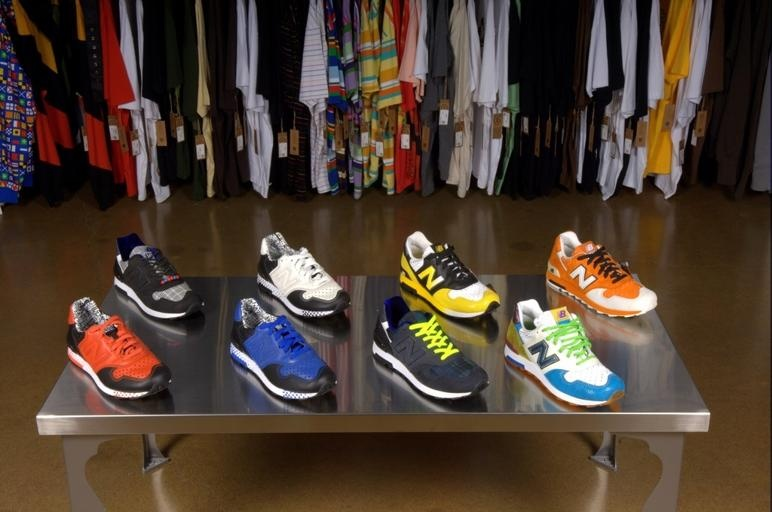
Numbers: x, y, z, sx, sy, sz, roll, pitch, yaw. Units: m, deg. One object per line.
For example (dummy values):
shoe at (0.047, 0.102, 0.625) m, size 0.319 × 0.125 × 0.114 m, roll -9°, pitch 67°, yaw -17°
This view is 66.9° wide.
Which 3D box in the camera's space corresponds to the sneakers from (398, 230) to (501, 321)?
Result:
sneakers at (0.227, 0.055, 2.382) m, size 0.200 × 0.249 × 0.540 m, roll -25°, pitch 39°, yaw -34°

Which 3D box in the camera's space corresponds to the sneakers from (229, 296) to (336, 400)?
sneakers at (-0.371, 0.328, 2.063) m, size 0.481 × 0.221 × 0.190 m, roll 31°, pitch 41°, yaw 33°

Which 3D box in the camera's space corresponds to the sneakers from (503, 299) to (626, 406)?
sneakers at (0.585, 0.301, 2.029) m, size 0.185 × 0.238 × 0.483 m, roll -22°, pitch 37°, yaw -32°

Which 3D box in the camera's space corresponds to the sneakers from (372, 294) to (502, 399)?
sneakers at (0.141, 0.292, 2.043) m, size 0.187 × 0.228 × 0.499 m, roll -22°, pitch 38°, yaw -36°

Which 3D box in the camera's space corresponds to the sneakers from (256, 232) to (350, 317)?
sneakers at (-0.356, 0.068, 2.351) m, size 0.497 × 0.230 × 0.195 m, roll 34°, pitch 39°, yaw 29°
